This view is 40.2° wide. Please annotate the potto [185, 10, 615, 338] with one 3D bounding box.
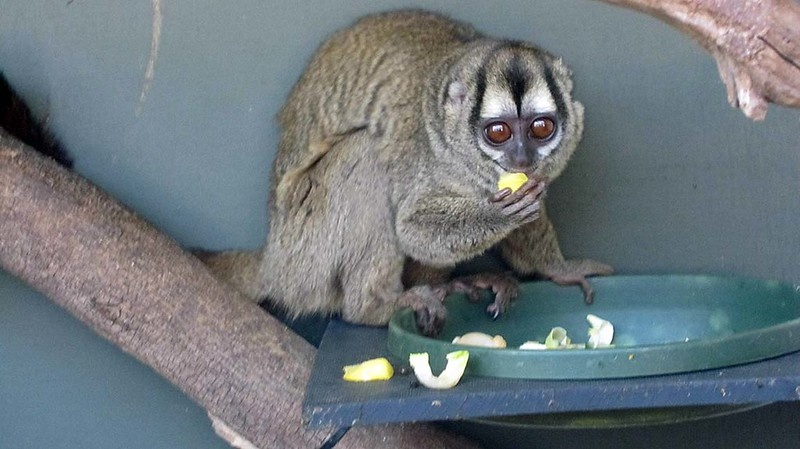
[{"bbox_3d":[0.007,-0.303,6.893,1.816,1.761,1.120,15,29,12],"label":"potto"}]
